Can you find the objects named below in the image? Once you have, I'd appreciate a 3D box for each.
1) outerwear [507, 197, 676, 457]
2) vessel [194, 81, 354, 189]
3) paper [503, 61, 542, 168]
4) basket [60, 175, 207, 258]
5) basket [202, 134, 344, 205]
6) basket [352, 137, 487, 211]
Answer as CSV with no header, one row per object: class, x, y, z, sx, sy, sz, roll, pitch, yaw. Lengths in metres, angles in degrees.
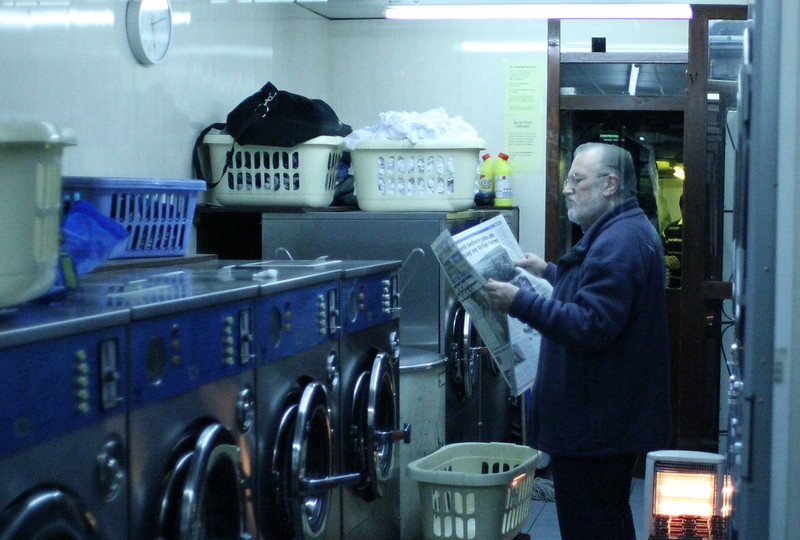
outerwear,0.718,0.159,2.839,0.568,0.887,0.790,-3,13,19
vessel,-0.599,-0.672,3.412,0.550,0.235,0.508,-8,41,-12
paper,0.716,-0.882,4.391,0.236,0.680,0.059,-1,29,7
basket,-0.900,-0.175,2.706,0.259,0.172,0.369,1,0,18
basket,-0.550,-0.438,3.629,0.522,0.287,0.433,2,0,19
basket,0.069,-0.409,3.509,0.446,0.227,0.349,1,-1,2
